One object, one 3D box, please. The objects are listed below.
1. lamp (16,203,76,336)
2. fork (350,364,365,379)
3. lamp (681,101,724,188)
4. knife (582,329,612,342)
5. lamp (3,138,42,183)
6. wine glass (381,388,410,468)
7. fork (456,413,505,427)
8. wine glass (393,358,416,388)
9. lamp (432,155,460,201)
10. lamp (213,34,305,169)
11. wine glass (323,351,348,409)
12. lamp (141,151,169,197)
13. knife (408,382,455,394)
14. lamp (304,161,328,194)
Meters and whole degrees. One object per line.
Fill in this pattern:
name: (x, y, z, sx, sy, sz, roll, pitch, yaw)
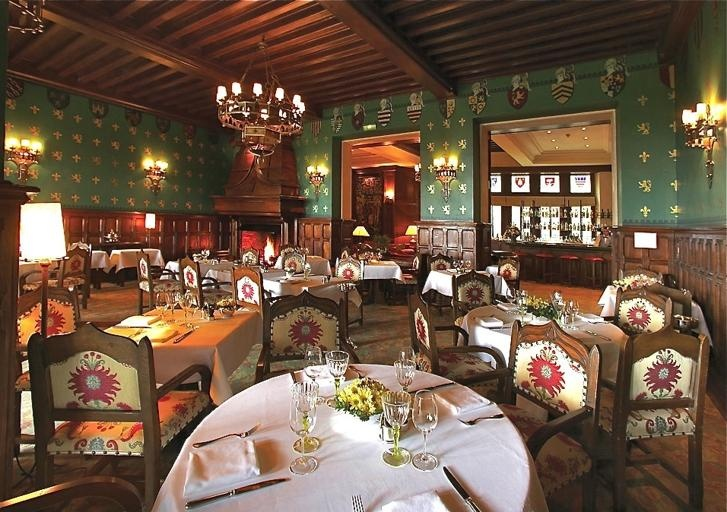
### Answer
lamp: (-2.691, 0.129, 4.098, 0.305, 1.182, 0.659, -1, 3, -33)
fork: (-0.048, 0.894, 3.739, 0.083, 0.030, 0.225, 1, 3, -14)
lamp: (4.283, -1.445, 6.185, 0.377, 1.119, 0.626, 2, 3, 28)
knife: (2.085, 0.701, 4.333, 0.242, 0.077, 0.065, 25, 42, 35)
lamp: (-6.515, -1.856, 9.283, 0.530, 0.840, 0.705, 0, 3, -8)
wine glass: (0.210, 1.087, 3.101, 0.174, 0.410, 0.231, 0, 3, 1)
fork: (0.801, 1.099, 3.275, 0.317, 0.048, 0.067, 0, 3, -9)
wine glass: (0.305, 0.854, 3.564, 0.136, 0.227, 0.230, 0, 3, 5)
lamp: (1.674, -1.572, 9.708, 0.475, 0.917, 0.253, 1, 2, 9)
lamp: (-1.684, -2.435, 7.695, 1.150, 2.007, 3.363, 0, 3, -16)
wine glass: (-0.186, 0.876, 3.519, 0.156, 0.341, 0.561, 0, 3, -3)
lamp: (-4.878, -1.946, 11.569, 0.357, 0.945, 0.670, 1, 3, 27)
knife: (0.491, 0.954, 3.502, 0.441, 0.022, 0.057, -4, 7, -33)
lamp: (-1.124, -1.826, 11.351, 0.606, 0.820, 0.630, 0, 1, 24)
